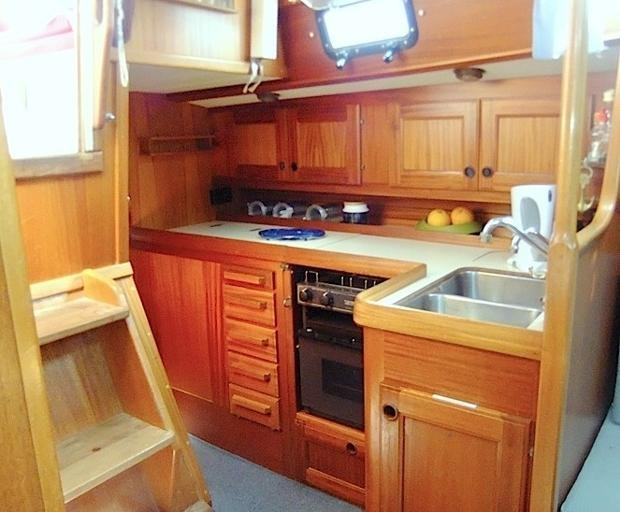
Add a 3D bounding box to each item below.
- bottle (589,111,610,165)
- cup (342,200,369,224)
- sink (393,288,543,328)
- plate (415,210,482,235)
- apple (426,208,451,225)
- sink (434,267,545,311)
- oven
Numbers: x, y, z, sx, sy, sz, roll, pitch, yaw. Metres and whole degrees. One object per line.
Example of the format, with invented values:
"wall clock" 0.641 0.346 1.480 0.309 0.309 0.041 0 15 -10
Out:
"bottle" 0.925 -0.383 1.631 0.051 0.174 0.154 5 15 23
"cup" 0.258 -0.243 2.804 0.136 0.097 0.127 0 7 0
"sink" 0.519 0.177 1.758 0.492 0.120 0.219 -2 12 -4
"plate" 0.701 -0.165 2.514 0.184 0.061 0.183 7 15 38
"apple" 0.637 -0.187 2.558 0.101 0.085 0.091 -3 -20 -12
"sink" 0.729 0.122 1.971 0.238 0.136 0.234 7 13 34
"oven" 0.190 0.414 2.310 0.390 0.613 0.344 2 8 32
